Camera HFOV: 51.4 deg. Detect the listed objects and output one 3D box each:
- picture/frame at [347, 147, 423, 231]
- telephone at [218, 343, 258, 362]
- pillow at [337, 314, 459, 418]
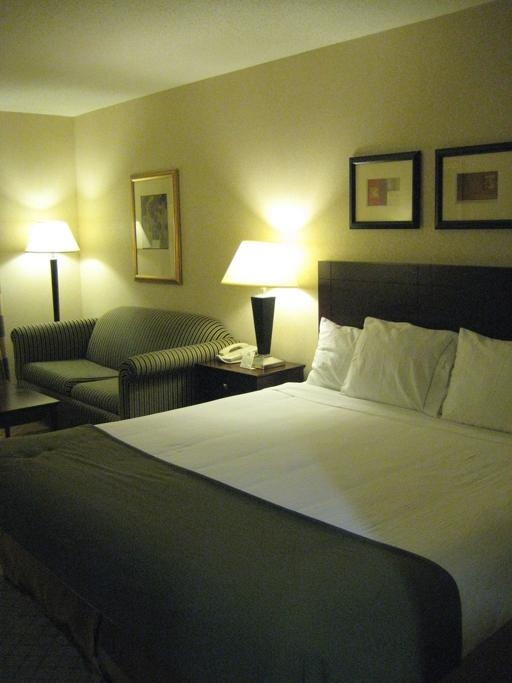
[{"bbox_3d":[0.747,-0.871,3.010,0.520,0.492,0.061,5,9,42],"label":"picture/frame"},{"bbox_3d":[-0.130,0.073,3.699,0.196,0.072,0.143,-22,17,-30],"label":"telephone"},{"bbox_3d":[0.720,0.134,2.573,0.150,0.420,0.516,24,-3,-39],"label":"pillow"}]
